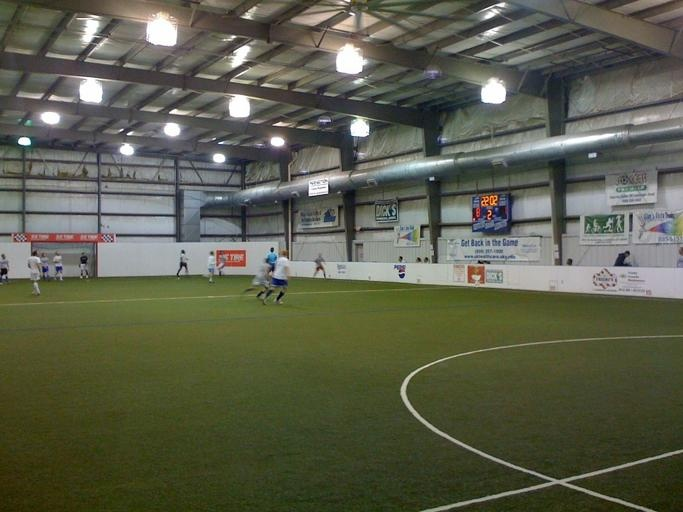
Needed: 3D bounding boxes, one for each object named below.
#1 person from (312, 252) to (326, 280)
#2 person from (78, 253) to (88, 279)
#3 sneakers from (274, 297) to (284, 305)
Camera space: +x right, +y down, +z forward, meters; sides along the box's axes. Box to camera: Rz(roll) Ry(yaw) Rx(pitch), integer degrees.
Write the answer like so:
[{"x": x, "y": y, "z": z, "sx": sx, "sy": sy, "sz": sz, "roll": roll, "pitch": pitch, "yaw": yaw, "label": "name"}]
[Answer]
[{"x": -1.231, "y": 0.651, "z": 32.741, "sx": 0.608, "sy": 1.341, "sz": 1.088, "roll": 0, "pitch": 0, "yaw": -15, "label": "person"}, {"x": -16.154, "y": 0.612, "z": 34.497, "sx": 0.486, "sy": 1.524, "sz": 2.525, "roll": -1, "pitch": 0, "yaw": -26, "label": "person"}, {"x": -2.081, "y": 1.496, "z": 17.975, "sx": 0.107, "sy": 0.210, "sz": 0.307, "roll": 2, "pitch": -9, "yaw": -44, "label": "sneakers"}]
